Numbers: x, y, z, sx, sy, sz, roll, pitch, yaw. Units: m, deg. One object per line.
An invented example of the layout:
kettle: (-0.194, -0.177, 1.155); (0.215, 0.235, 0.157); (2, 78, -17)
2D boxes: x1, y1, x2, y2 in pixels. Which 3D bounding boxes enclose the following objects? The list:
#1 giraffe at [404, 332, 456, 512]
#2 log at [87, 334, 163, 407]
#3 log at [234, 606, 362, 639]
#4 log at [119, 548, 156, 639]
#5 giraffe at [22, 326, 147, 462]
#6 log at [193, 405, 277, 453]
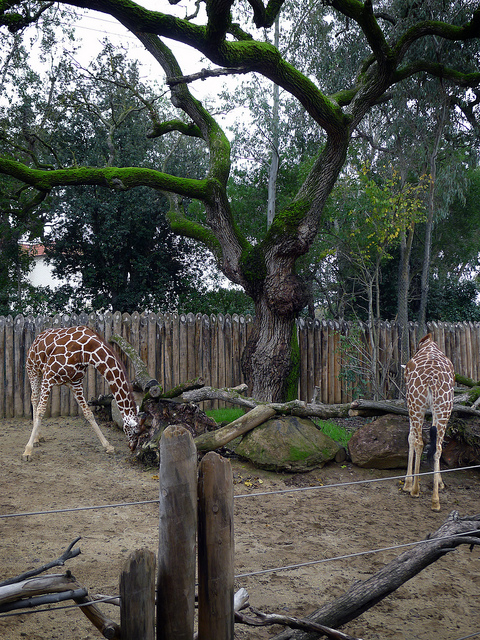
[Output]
giraffe: (2.118, 1.057, 8.827); (0.539, 1.876, 1.756); (1, -3, 16)
log: (-1.670, 0.733, 11.140); (0.775, 1.150, 3.060); (2, -3, -16)
log: (0.344, 1.887, 4.889); (0.738, 0.214, 0.383); (2, -3, 5)
log: (-0.559, 1.516, 4.335); (0.185, 0.497, 0.067); (2, -2, -14)
giraffe: (-2.090, 0.936, 9.811); (2.173, 1.726, 0.921); (1, -3, 28)
log: (-0.031, 1.312, 9.317); (1.132, 0.217, 0.288); (-30, -12, -38)
